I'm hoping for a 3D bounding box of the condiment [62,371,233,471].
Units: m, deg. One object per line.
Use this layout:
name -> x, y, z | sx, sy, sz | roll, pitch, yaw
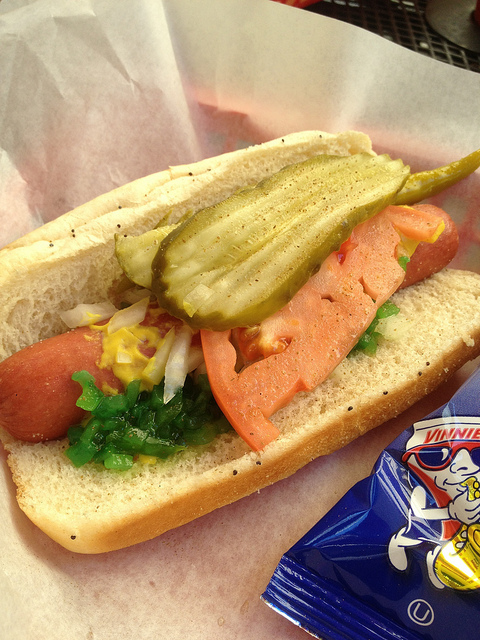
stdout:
condiment -> -0.348, 0.338, 2.257 | 0.589, 0.397, 0.248 | -17, 45, -16
